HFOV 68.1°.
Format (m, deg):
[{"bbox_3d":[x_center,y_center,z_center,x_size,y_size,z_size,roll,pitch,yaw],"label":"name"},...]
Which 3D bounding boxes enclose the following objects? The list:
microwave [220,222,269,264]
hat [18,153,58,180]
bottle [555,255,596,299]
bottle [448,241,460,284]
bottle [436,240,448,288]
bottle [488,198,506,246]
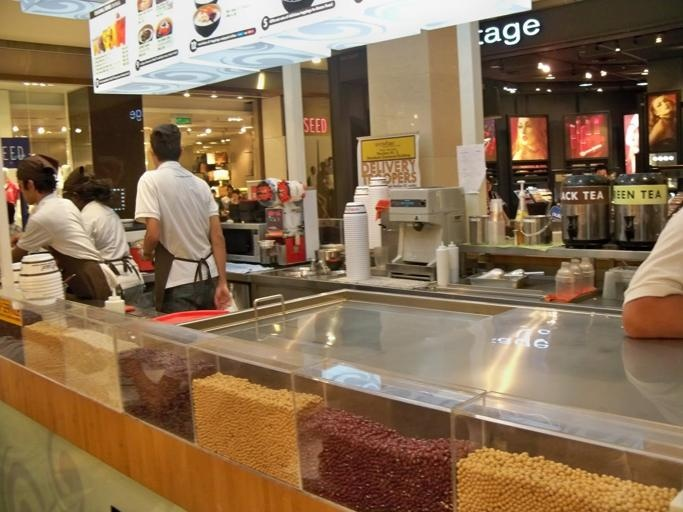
[{"bbox_3d":[-0.823,-0.132,5.004,0.770,0.409,0.435,3,5,42],"label":"microwave"},{"bbox_3d":[-1.961,-0.581,3.358,0.223,0.168,0.248,6,2,13],"label":"hat"},{"bbox_3d":[1.450,0.122,3.021,0.340,0.235,0.177,-4,6,-23],"label":"bottle"},{"bbox_3d":[0.788,0.053,3.544,0.067,0.276,0.117,-3,9,11],"label":"bottle"},{"bbox_3d":[0.706,0.059,3.520,0.100,0.277,0.200,-3,8,11],"label":"bottle"},{"bbox_3d":[1.156,-0.255,3.748,0.117,0.328,0.256,-2,9,18],"label":"bottle"}]
